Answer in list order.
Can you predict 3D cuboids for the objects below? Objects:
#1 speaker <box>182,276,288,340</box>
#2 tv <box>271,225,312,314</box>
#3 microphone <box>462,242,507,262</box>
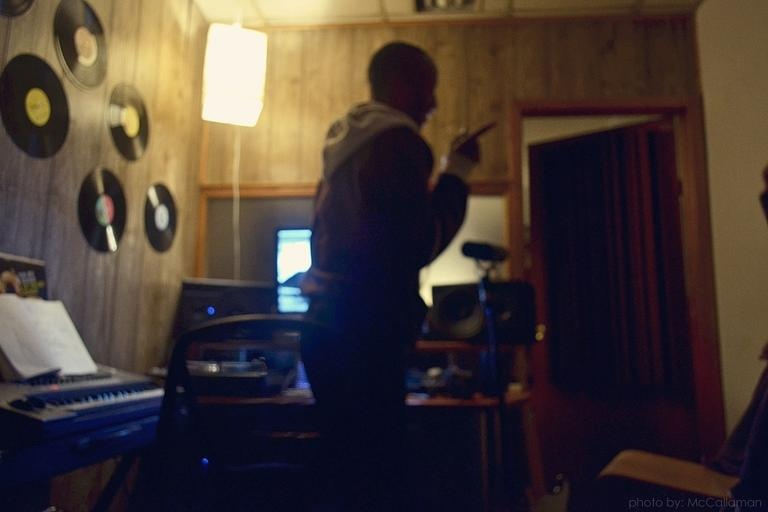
[{"bbox_3d":[-1.075,0.440,4.685,0.641,0.483,0.377,3,-27,-15],"label":"speaker"},{"bbox_3d":[-0.668,0.097,4.938,0.292,0.743,0.077,-1,27,-12],"label":"tv"},{"bbox_3d":[0.671,-0.033,4.458,0.270,0.149,0.068,7,9,-4],"label":"microphone"}]
